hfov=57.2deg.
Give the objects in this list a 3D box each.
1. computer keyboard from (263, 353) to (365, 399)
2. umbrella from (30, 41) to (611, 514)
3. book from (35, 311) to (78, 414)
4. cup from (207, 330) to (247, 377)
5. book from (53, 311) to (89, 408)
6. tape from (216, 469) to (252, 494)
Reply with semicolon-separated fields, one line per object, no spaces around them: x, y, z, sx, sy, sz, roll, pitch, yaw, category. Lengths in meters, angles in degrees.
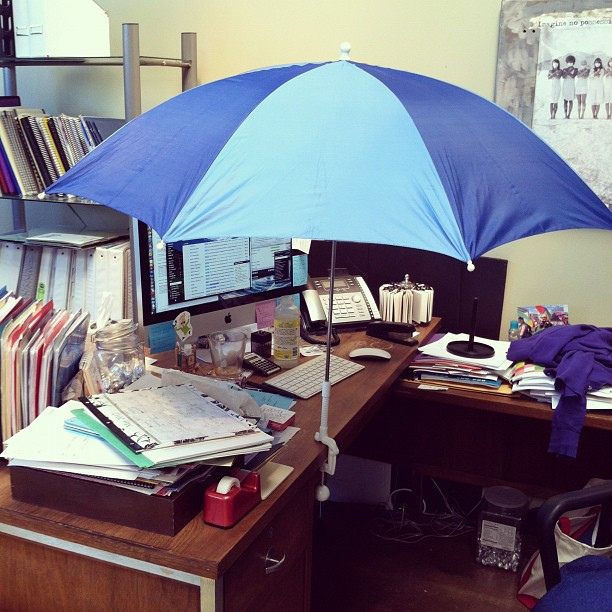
0.008;0.203;1.555;0.096;0.010;0.221;22;25;27;computer keyboard
0.024;-0.123;1.051;0.648;0.526;0.637;-15;25;-42;umbrella
-0.523;0.128;1.168;0.020;0.163;0.154;21;41;-6;book
-0.220;0.144;1.547;0.119;0.117;0.122;-4;-6;0;cup
-0.503;0.123;1.192;0.017;0.134;0.144;16;33;2;book
-0.117;0.292;0.925;0.017;0.028;0.070;12;0;21;tape
